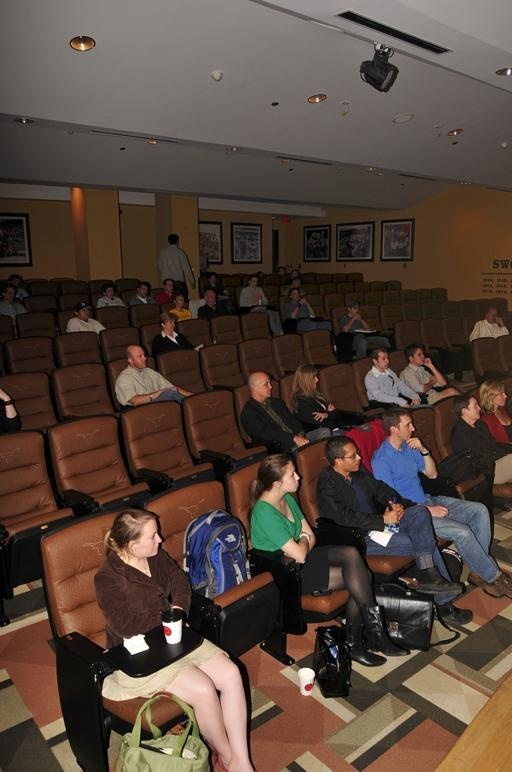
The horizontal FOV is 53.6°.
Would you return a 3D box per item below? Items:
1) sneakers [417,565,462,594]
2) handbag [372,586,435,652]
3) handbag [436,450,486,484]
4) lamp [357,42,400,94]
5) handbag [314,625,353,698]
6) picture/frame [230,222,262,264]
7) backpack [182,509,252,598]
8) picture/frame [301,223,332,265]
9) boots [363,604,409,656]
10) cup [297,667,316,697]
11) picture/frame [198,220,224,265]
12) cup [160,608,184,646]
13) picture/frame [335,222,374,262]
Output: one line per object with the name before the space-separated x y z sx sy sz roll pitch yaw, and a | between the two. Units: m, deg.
sneakers | 0.902 0.983 2.587 0.265 0.174 0.100 -7 -4 18
handbag | 0.682 1.108 2.438 0.299 0.257 0.146 -8 -10 33
handbag | 1.444 0.571 3.573 0.277 0.116 0.227 -17 -11 39
lamp | 1.285 -3.399 5.406 0.166 0.322 0.492 -46 -13 -3
handbag | 0.332 1.161 2.176 0.133 0.245 0.239 -1 1 4
picture/frame | -0.434 -5.010 17.525 1.406 1.594 0.129 -6 10 -32
backpack | -0.169 0.723 2.188 0.278 0.349 0.202 -14 20 -39
picture/frame | 2.129 -4.973 17.586 0.109 1.592 1.564 -5 7 -42
boots | 0.600 1.133 2.350 0.107 0.208 0.216 5 -16 -44
cup | 0.209 1.227 2.120 0.068 0.121 0.096 0 7 5
picture/frame | -1.532 -4.788 16.903 0.866 1.417 0.138 -6 9 -38
cup | -0.280 0.768 1.673 0.062 0.125 0.176 -1 7 -8
picture/frame | 3.190 -4.636 16.211 0.114 1.227 1.423 -8 11 -40
